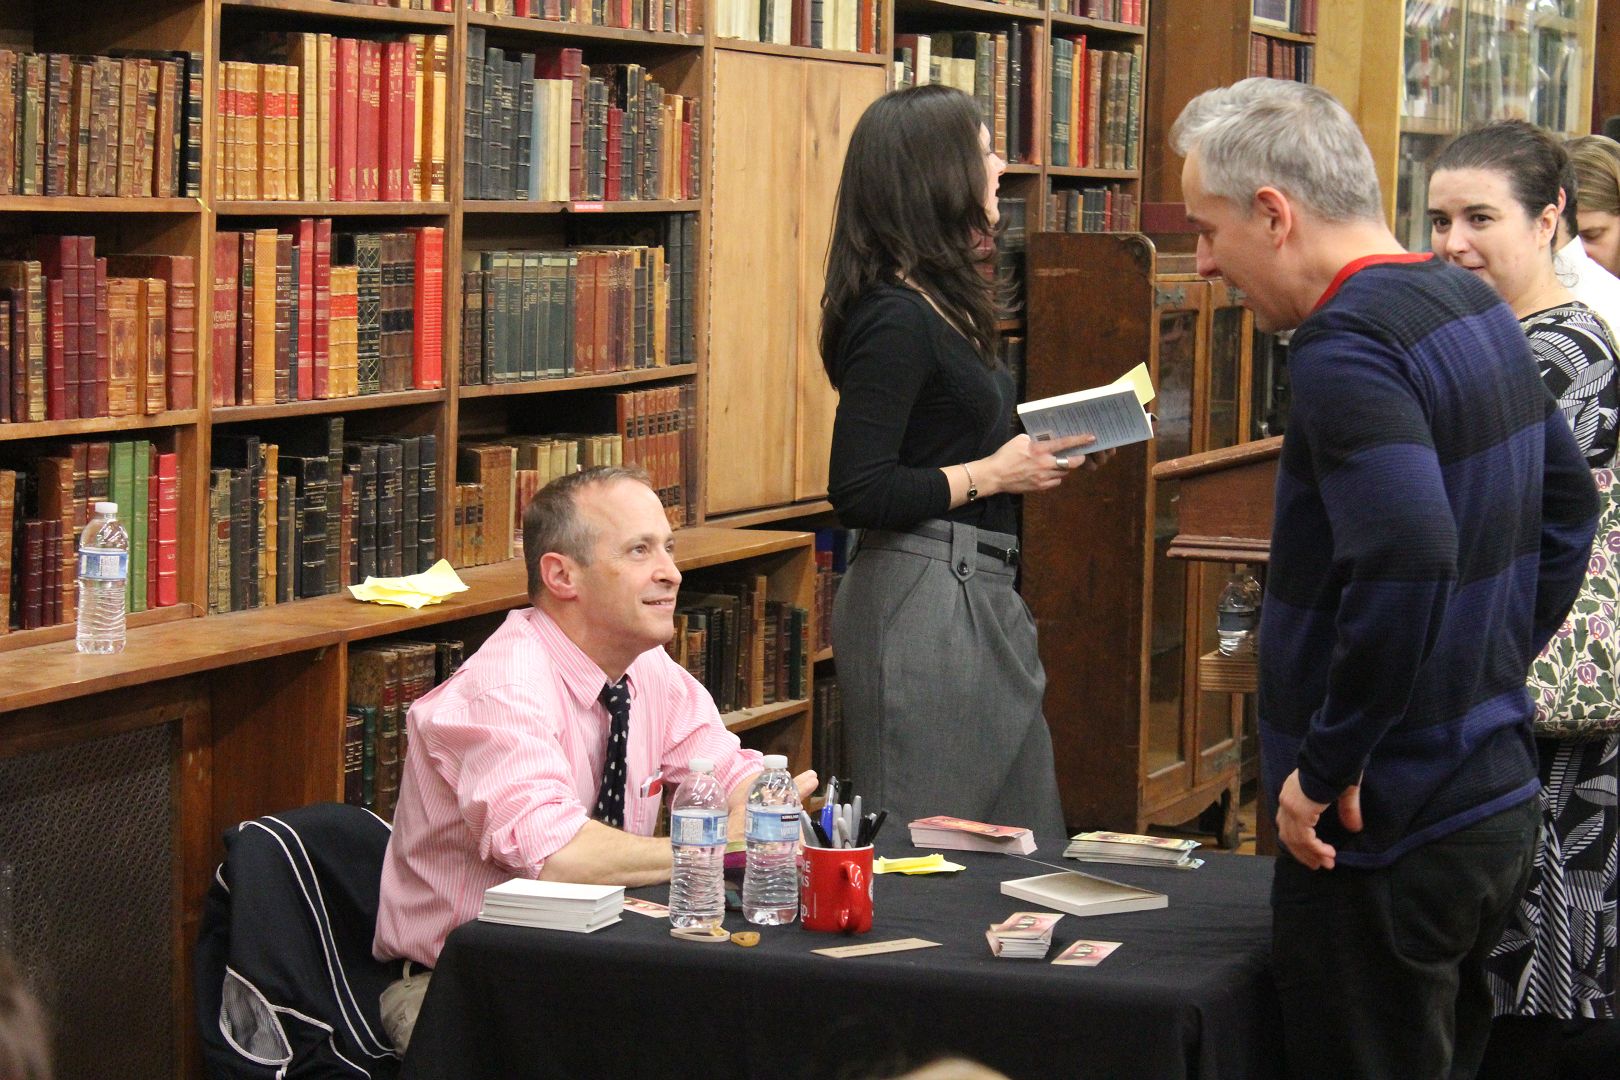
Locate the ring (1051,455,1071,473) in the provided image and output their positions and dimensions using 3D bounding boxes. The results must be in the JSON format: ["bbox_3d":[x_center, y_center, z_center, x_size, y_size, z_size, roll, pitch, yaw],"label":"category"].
[{"bbox_3d":[0.627,-0.192,3.622,0.034,0.036,0.010,-2,-1,-16],"label":"ring"}]

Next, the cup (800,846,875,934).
[{"bbox_3d":[0.040,0.582,2.443,0.094,0.112,0.150,0,2,-12],"label":"cup"}]

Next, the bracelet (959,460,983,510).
[{"bbox_3d":[0.373,-0.132,3.533,0.046,0.087,0.079,-6,-16,3],"label":"bracelet"}]

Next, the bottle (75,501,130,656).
[{"bbox_3d":[-1.632,0.073,3.367,0.109,0.301,0.289,-1,16,-26],"label":"bottle"}]

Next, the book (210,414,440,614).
[{"bbox_3d":[-1.303,-0.057,3.862,0.192,0.286,0.504,6,6,31],"label":"book"}]

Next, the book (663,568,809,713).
[{"bbox_3d":[-0.219,0.348,4.857,0.396,0.553,0.557,-5,8,-41],"label":"book"}]

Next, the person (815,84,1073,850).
[{"bbox_3d":[0.353,-0.175,3.582,0.723,1.786,0.451,6,13,-2],"label":"person"}]

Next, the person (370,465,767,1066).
[{"bbox_3d":[-0.478,0.548,3.027,0.841,1.320,0.785,5,5,12],"label":"person"}]
